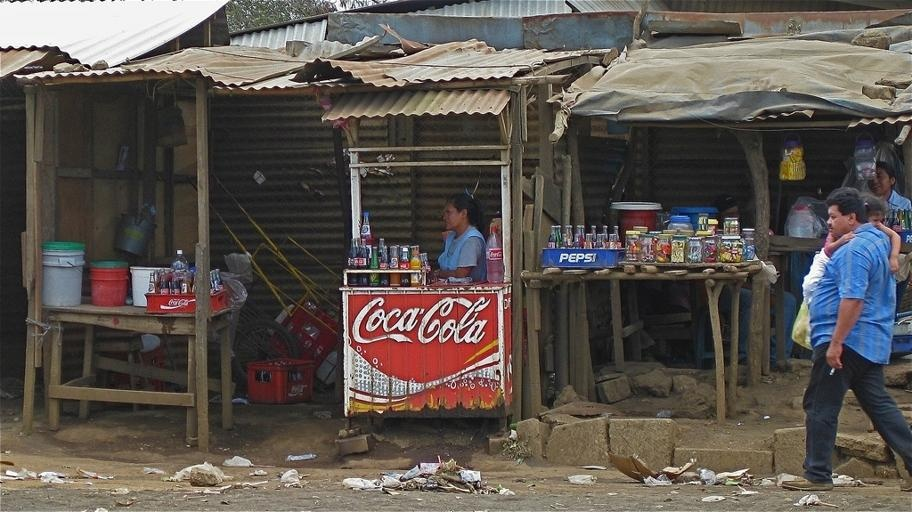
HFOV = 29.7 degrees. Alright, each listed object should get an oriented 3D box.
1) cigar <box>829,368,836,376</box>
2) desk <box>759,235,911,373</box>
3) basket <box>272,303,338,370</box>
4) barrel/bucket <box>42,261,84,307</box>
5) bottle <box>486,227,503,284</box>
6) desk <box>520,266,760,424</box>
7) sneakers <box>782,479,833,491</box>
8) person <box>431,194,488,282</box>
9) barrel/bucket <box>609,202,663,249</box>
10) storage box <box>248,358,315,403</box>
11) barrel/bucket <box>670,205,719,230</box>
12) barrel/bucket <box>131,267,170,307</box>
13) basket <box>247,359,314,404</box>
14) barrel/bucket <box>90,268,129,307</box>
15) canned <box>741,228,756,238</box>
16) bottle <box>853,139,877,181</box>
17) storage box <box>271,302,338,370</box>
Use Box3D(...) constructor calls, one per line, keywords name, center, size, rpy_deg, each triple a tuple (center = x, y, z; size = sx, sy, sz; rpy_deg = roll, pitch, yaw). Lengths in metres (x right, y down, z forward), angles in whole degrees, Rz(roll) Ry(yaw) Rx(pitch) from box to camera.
Box3D(name="cigar", center=(5.010, 1.531, 23.175), size=(0.070, 0.096, 0.016), rpy_deg=(0, 0, 7))
Box3D(name="desk", center=(5.340, 0.656, 24.321), size=(3.560, 0.936, 1.006), rpy_deg=(-10, -24, 1))
Box3D(name="basket", center=(-2.469, 1.242, 27.820), size=(0.928, 1.012, 0.367), rpy_deg=(0, 0, -6))
Box3D(name="barrel/bucket", center=(-5.919, 0.419, 25.665), size=(0.694, 0.526, 0.637), rpy_deg=(0, -2, 0))
Box3D(name="bottle", center=(0.528, -0.035, 25.244), size=(0.264, 0.831, 0.248), rpy_deg=(0, 0, 0))
Box3D(name="desk", center=(2.891, 1.412, 26.186), size=(3.097, 1.528, 2.763), rpy_deg=(0, -4, 11))
Box3D(name="sneakers", center=(4.730, 3.057, 23.444), size=(0.661, 0.236, 0.209), rpy_deg=(2, -1, 10))
Box3D(name="person", center=(0.036, -0.293, 25.580), size=(0.802, 1.302, 0.633), rpy_deg=(0, 0, 12))
Box3D(name="barrel/bucket", center=(2.638, -0.509, 26.081), size=(0.795, 0.580, 0.698), rpy_deg=(0, -1, -2))
Box3D(name="storage box", center=(-2.805, 1.937, 27.123), size=(0.865, 0.436, 0.790), rpy_deg=(0, -2, 20))
Box3D(name="barrel/bucket", center=(3.552, -0.595, 26.067), size=(0.698, 0.328, 0.412), rpy_deg=(1, 0, 1))
Box3D(name="barrel/bucket", center=(-4.711, 0.439, 25.672), size=(0.695, 0.532, 0.596), rpy_deg=(1, -2, 0))
Box3D(name="basket", center=(-2.813, 1.938, 27.132), size=(0.869, 0.442, 0.797), rpy_deg=(0, -2, 20))
Box3D(name="barrel/bucket", center=(-5.179, 0.454, 25.874), size=(0.695, 0.468, 0.584), rpy_deg=(0, -5, -2))
Box3D(name="canned", center=(4.227, -0.347, 25.340), size=(0.186, 0.107, 0.173), rpy_deg=(0, -3, 24))
Box3D(name="bottle", center=(6.164, -1.477, 26.226), size=(0.305, 0.608, 0.422), rpy_deg=(0, 0, 12))
Box3D(name="storage box", center=(-2.457, 1.196, 28.206), size=(1.051, 0.955, 1.024), rpy_deg=(40, -7, -10))
